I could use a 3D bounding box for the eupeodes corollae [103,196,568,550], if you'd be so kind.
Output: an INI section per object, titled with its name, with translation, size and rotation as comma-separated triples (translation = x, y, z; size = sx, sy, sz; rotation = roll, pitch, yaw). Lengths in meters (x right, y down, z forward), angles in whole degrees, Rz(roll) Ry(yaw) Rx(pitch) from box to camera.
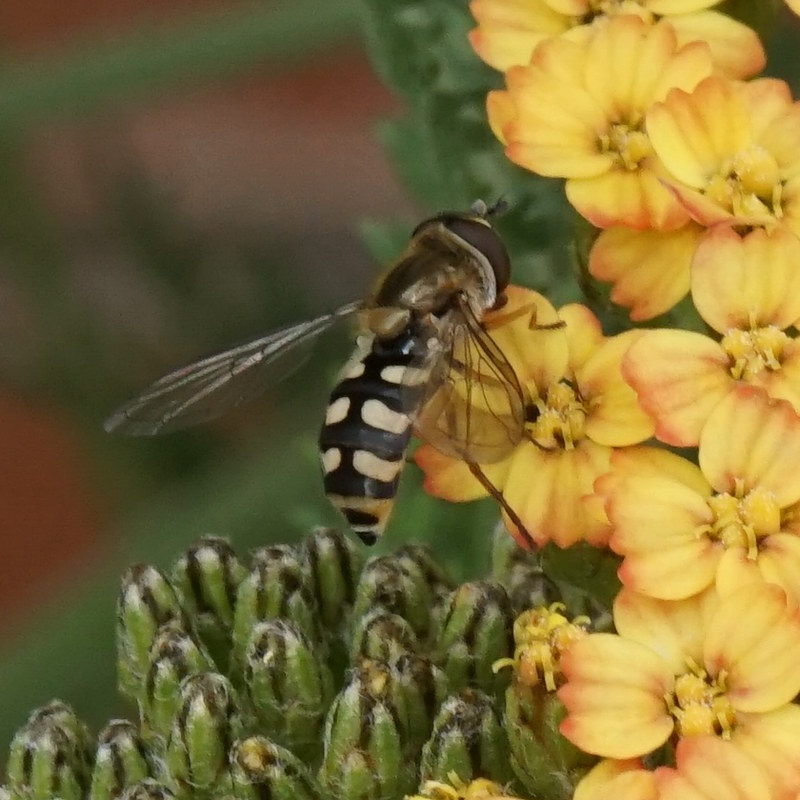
[eupeodes corollae]
translation = -0.021, -0.026, 0.819
size = 0.268, 0.166, 0.157
rotation = -6, -44, -22

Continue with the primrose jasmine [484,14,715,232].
[primrose jasmine]
translation = 0.104, -0.137, 0.735
size = 0.117, 0.109, 0.044
rotation = 2, 0, 9
